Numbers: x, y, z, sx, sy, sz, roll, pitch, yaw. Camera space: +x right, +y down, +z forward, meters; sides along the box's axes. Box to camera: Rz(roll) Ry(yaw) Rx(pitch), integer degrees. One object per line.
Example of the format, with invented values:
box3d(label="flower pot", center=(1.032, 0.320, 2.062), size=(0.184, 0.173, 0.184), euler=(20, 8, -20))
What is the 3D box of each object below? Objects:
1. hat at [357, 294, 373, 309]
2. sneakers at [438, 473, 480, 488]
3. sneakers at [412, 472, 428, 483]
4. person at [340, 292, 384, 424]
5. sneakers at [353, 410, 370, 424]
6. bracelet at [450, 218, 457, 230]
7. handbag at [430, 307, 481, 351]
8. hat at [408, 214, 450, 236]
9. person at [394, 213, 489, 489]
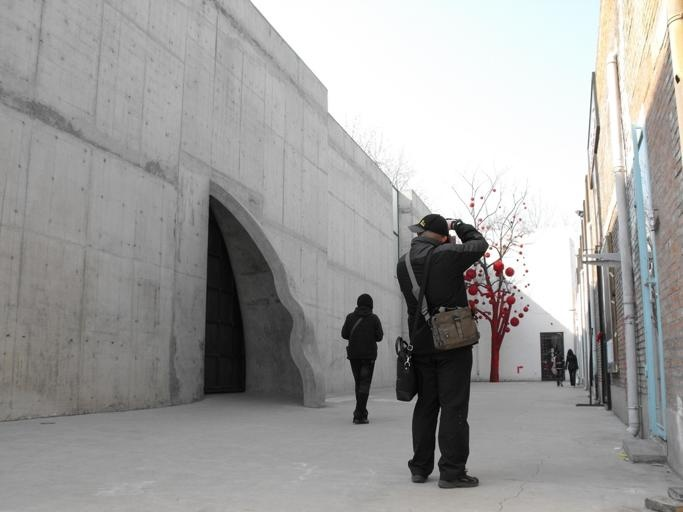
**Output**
box3d(label="hat", center=(0.453, 0.878, 8.940), size=(0.239, 0.306, 0.281), euler=(1, 2, -14))
box3d(label="sneakers", center=(0.963, 1.841, 3.832), size=(0.242, 0.120, 0.134), euler=(-5, -12, -1))
box3d(label="sneakers", center=(0.673, 1.905, 3.984), size=(0.147, 0.083, 0.131), euler=(-3, -11, 1))
box3d(label="person", center=(0.400, 1.863, 8.628), size=(0.726, 2.346, 0.626), euler=(-2, -10, -1))
box3d(label="sneakers", center=(0.330, 2.881, 8.316), size=(0.133, 0.273, 0.355), euler=(-2, -9, 29))
box3d(label="bracelet", center=(1.076, -0.310, 4.474), size=(0.040, 0.057, 0.129), euler=(-3, -20, 6))
box3d(label="handbag", center=(0.989, 0.630, 4.048), size=(0.414, 0.372, 0.238), euler=(-4, -11, 4))
box3d(label="hat", center=(0.844, -0.284, 4.440), size=(0.299, 0.190, 0.219), euler=(3, -1, -6))
box3d(label="person", center=(0.918, 0.765, 4.175), size=(0.793, 2.387, 0.500), euler=(-5, -10, 14))
